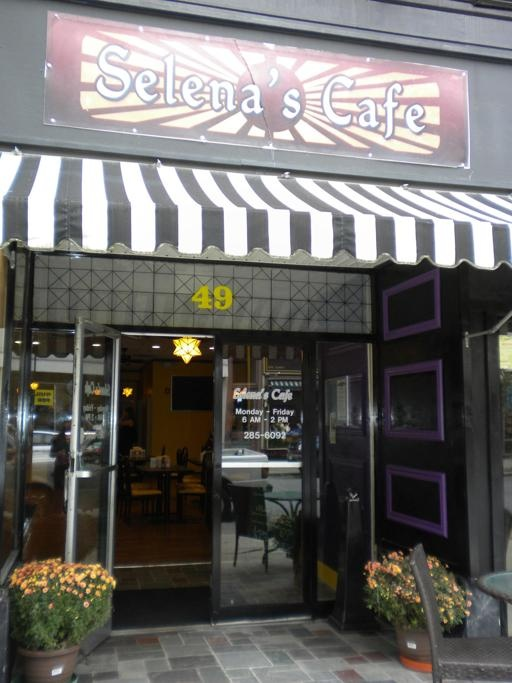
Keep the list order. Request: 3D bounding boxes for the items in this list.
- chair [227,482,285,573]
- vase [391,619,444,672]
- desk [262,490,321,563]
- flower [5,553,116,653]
[{"bbox_3d":[0.028,1.480,5.179,0.485,0.990,0.579,1,-12,0],"label":"chair"},{"bbox_3d":[1.107,1.962,4.002,0.276,0.239,0.276,18,-22,-14],"label":"vase"},{"bbox_3d":[0.203,1.493,5.122,0.300,0.441,0.332,2,-10,7],"label":"desk"},{"bbox_3d":[-1.098,1.406,3.495,0.545,0.532,0.434,6,-9,-40],"label":"flower"}]
